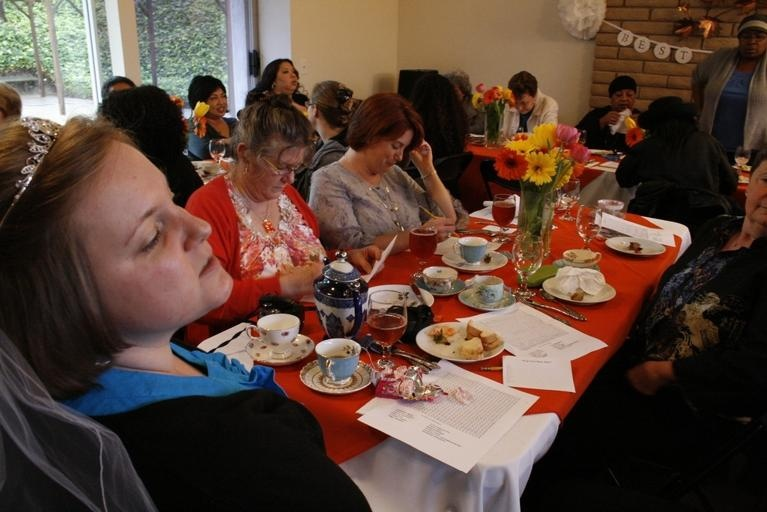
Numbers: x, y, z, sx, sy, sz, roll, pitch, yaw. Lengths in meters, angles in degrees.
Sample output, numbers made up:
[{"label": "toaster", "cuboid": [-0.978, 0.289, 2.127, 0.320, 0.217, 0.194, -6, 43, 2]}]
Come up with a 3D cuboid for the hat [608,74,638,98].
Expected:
[{"label": "hat", "cuboid": [2.434, -1.727, 5.573, 0.277, 0.208, 0.274, -5, 26, -10]}]

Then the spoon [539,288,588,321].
[{"label": "spoon", "cuboid": [0.664, 0.174, 2.044, 0.042, 0.033, 0.299, -26, 24, -6]}]

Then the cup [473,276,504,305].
[{"label": "cup", "cuboid": [0.382, 0.125, 1.948, 0.084, 0.074, 0.106, 4, 15, 16]}]

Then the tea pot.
[{"label": "tea pot", "cuboid": [-0.192, 0.110, 1.727, 0.177, 0.269, 0.257, -6, 27, -21]}]

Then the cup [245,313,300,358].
[{"label": "cup", "cuboid": [-0.327, 0.228, 1.656, 0.136, 0.076, 0.108, 4, 22, 4]}]

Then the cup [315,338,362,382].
[{"label": "cup", "cuboid": [-0.132, 0.292, 1.539, 0.109, 0.084, 0.129, 4, 19, 12]}]

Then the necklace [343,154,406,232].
[{"label": "necklace", "cuboid": [-0.061, -0.311, 2.745, 0.204, 0.341, 0.366, 4, 17, 36]}]

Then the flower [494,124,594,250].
[{"label": "flower", "cuboid": [0.657, -0.355, 2.399, 0.445, 0.569, 0.466, 8, 30, 20]}]

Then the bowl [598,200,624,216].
[{"label": "bowl", "cuboid": [1.172, -0.244, 2.786, 0.099, 0.051, 0.098, -1, 23, 0]}]

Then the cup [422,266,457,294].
[{"label": "cup", "cuboid": [0.219, 0.084, 2.073, 0.101, 0.057, 0.102, 1, 13, 0]}]

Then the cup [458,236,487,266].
[{"label": "cup", "cuboid": [0.386, -0.021, 2.332, 0.097, 0.081, 0.122, 6, 13, 29]}]

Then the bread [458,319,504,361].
[{"label": "bread", "cuboid": [0.298, 0.265, 1.695, 0.108, 0.034, 0.103, -16, 25, -25]}]

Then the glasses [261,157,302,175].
[{"label": "glasses", "cuboid": [-0.419, -0.373, 2.205, 0.075, 0.022, 0.074, 36, 29, 19]}]
